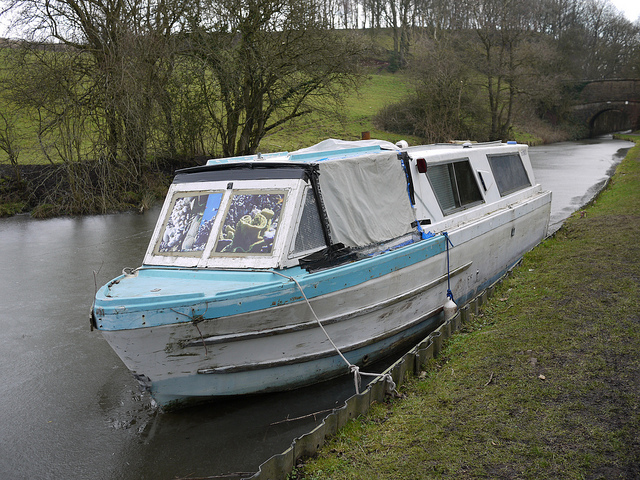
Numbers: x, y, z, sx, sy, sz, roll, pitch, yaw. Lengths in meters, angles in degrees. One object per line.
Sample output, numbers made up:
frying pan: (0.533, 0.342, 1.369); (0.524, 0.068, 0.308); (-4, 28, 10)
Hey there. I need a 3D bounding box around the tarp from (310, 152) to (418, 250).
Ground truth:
tarp: (0.641, -0.672, 8.949); (1.286, 1.655, 1.746); (-15, 20, -40)
